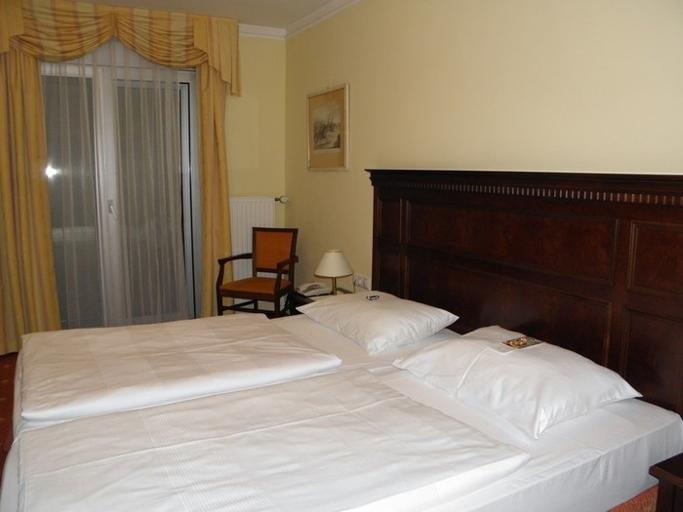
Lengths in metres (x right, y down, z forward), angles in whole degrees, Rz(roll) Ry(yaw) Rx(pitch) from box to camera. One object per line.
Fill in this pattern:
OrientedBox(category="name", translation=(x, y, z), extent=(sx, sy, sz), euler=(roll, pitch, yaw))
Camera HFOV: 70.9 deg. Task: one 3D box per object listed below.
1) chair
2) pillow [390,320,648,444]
OrientedBox(category="chair", translation=(-0.838, 0.282, 5.042), extent=(0.767, 1.123, 0.761), euler=(6, 9, 34))
OrientedBox(category="pillow", translation=(0.765, 0.577, 2.339), extent=(0.516, 0.155, 0.608), euler=(-15, 23, -34))
